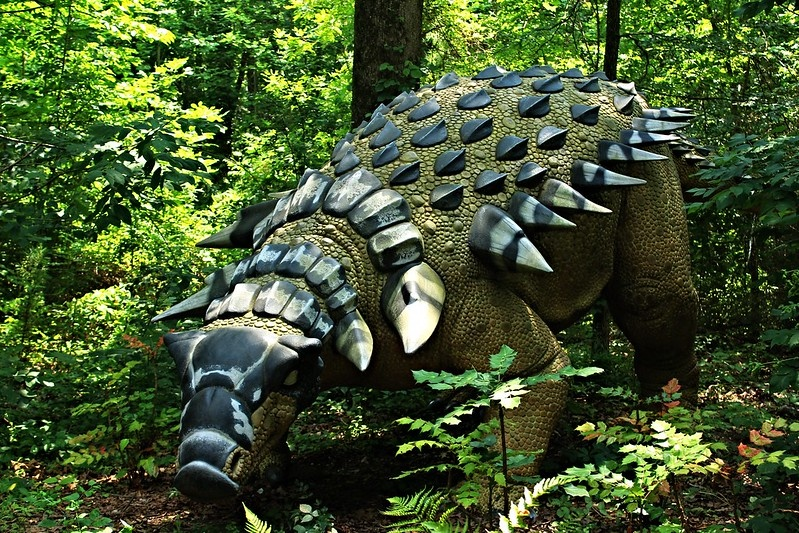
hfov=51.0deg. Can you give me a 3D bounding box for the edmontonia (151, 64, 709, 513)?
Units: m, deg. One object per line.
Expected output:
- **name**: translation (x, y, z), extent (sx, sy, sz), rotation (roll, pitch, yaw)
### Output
- **edmontonia**: translation (0.483, -0.076, 8.299), extent (5.431, 4.034, 1.654), rotation (-3, 6, -20)
